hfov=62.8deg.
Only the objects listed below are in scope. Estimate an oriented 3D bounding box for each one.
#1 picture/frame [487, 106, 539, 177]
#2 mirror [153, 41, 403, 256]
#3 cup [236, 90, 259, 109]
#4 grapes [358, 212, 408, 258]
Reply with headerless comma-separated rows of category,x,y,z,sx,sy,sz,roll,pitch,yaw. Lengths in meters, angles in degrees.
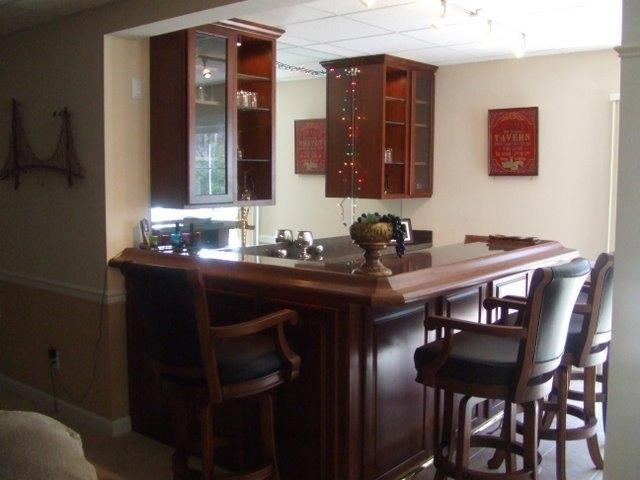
picture/frame,1.984,-1.025,5.349,0.658,0.951,0.092,3,7,36
mirror,-0.296,-0.874,4.710,0.573,2.381,1.927,3,4,31
cup,-0.595,-1.163,4.334,0.107,0.146,0.194,1,2,29
grapes,0.346,-0.054,2.845,0.240,0.281,0.250,-4,3,10
